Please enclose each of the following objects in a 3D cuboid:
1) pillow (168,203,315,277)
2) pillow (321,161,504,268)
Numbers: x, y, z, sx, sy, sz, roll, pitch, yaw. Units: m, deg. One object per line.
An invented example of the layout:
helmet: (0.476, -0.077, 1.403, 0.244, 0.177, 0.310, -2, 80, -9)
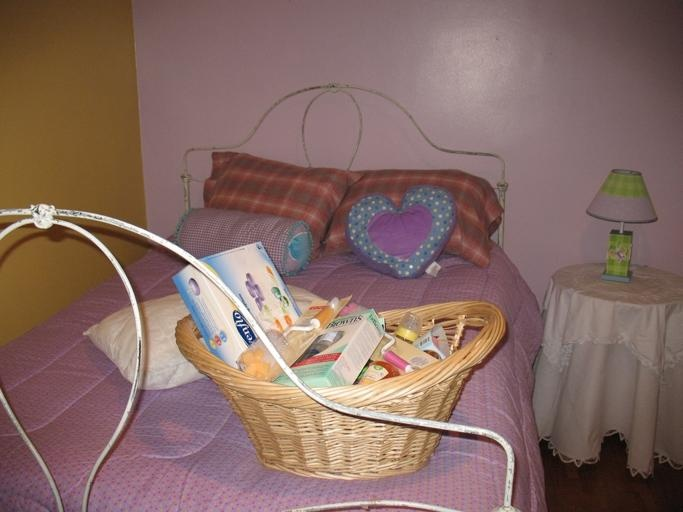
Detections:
pillow: (-0.427, -0.097, 2.147, 0.523, 0.210, 0.266, 16, 49, 23)
pillow: (0.391, -0.241, 2.184, 0.618, 0.485, 0.181, 7, -24, 15)
